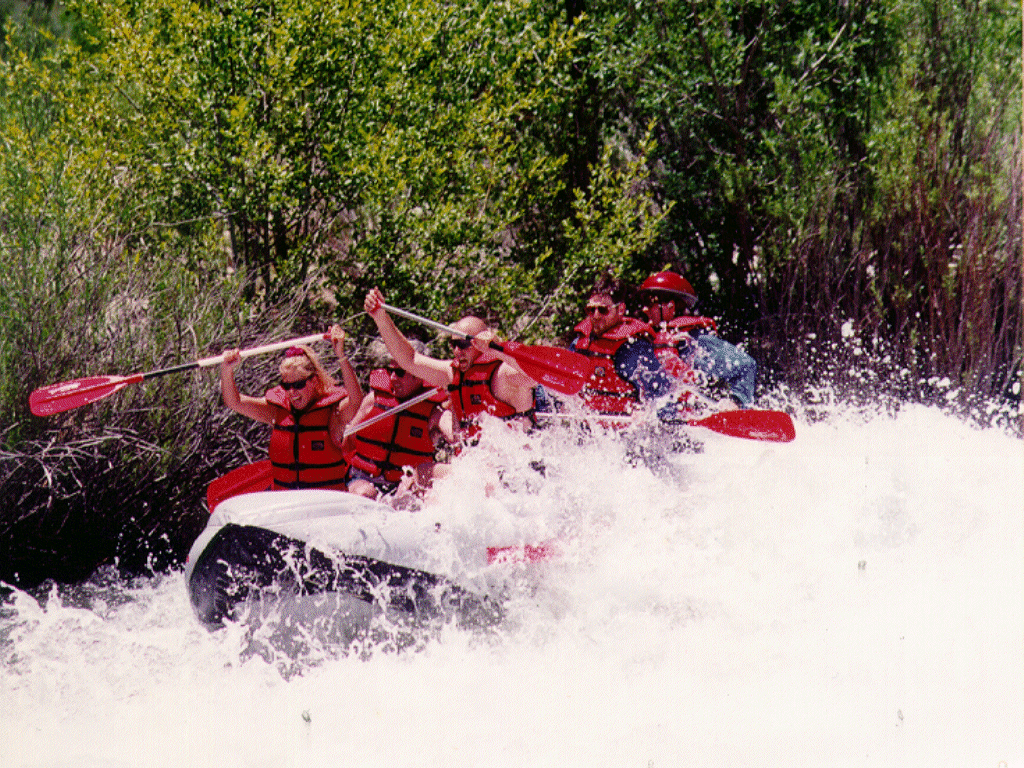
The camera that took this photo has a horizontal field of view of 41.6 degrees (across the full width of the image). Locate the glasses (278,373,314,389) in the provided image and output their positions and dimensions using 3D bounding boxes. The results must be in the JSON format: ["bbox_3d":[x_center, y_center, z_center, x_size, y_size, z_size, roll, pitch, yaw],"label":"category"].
[{"bbox_3d":[-0.833,-0.006,5.162,0.131,0.040,0.054,-11,20,-9],"label":"glasses"}]

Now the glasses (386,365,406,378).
[{"bbox_3d":[-0.474,-0.050,5.312,0.051,0.065,0.020,-1,7,42],"label":"glasses"}]

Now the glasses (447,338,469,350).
[{"bbox_3d":[-0.206,-0.159,5.281,0.058,0.022,0.057,10,-10,-30],"label":"glasses"}]
